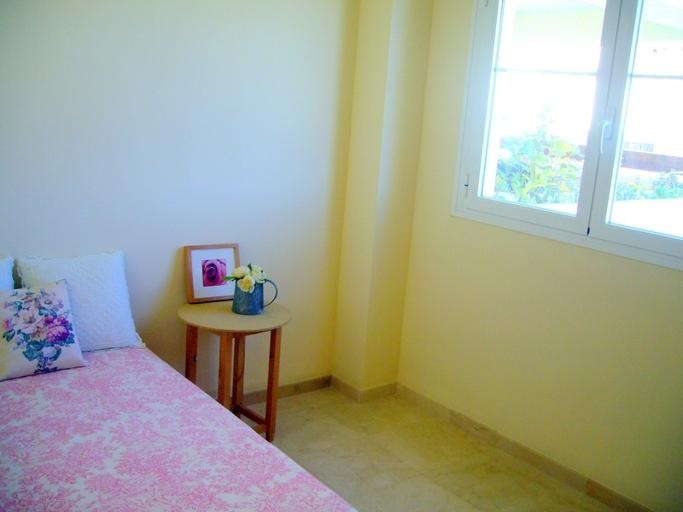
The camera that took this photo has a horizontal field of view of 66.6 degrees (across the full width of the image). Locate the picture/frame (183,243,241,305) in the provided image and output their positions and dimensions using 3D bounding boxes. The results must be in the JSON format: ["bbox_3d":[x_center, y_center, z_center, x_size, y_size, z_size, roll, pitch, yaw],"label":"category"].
[{"bbox_3d":[-0.770,0.101,3.022,0.312,0.320,0.033,-7,8,-37],"label":"picture/frame"}]

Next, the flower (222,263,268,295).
[{"bbox_3d":[-0.537,0.116,2.908,0.168,0.137,0.160,19,24,41],"label":"flower"}]

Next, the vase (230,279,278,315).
[{"bbox_3d":[-0.484,0.226,2.962,0.239,0.184,0.155,5,15,-9],"label":"vase"}]
